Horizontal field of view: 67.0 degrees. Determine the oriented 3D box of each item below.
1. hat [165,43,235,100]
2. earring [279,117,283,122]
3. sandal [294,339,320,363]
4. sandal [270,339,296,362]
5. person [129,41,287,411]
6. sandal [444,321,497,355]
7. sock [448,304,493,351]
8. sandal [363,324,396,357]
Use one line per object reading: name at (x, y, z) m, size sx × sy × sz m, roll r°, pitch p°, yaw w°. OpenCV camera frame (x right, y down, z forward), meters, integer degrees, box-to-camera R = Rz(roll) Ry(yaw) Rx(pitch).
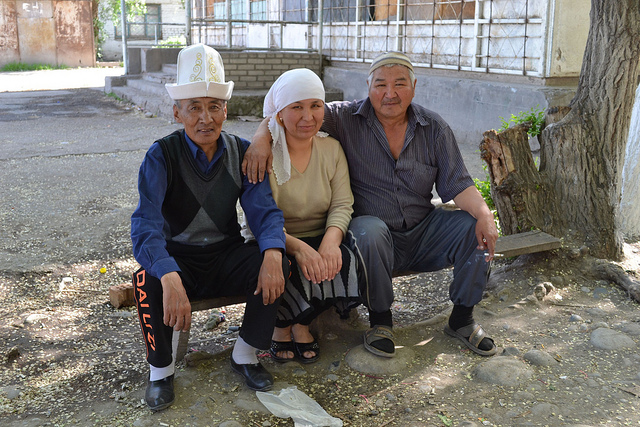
hat at (-0.825, -0.958, 3.290) m, size 0.438 × 0.378 × 0.309 m, roll -5°, pitch 15°, yaw -17°
earring at (-0.277, -0.672, 3.476) m, size 0.015 × 0.031 × 0.041 m, roll -9°, pitch 17°, yaw -29°
sandal at (-0.095, 0.987, 3.476) m, size 0.173 × 0.118 × 0.112 m, roll -2°, pitch 15°, yaw -5°
sandal at (-0.262, 0.975, 3.464) m, size 0.174 × 0.135 × 0.105 m, roll -2°, pitch 15°, yaw -6°
person at (-0.747, 0.010, 3.236) m, size 1.021 × 2.207 × 0.931 m, roll -6°, pitch 16°, yaw -18°
sandal at (1.131, 0.881, 3.635) m, size 0.219 × 0.157 × 0.449 m, roll -10°, pitch 22°, yaw -30°
sock at (1.079, 0.808, 3.585) m, size 0.396 × 0.264 × 0.173 m, roll 16°, pitch 24°, yaw 34°
sandal at (0.438, 0.873, 3.522) m, size 0.199 × 0.170 × 0.398 m, roll 4°, pitch 11°, yaw -5°
